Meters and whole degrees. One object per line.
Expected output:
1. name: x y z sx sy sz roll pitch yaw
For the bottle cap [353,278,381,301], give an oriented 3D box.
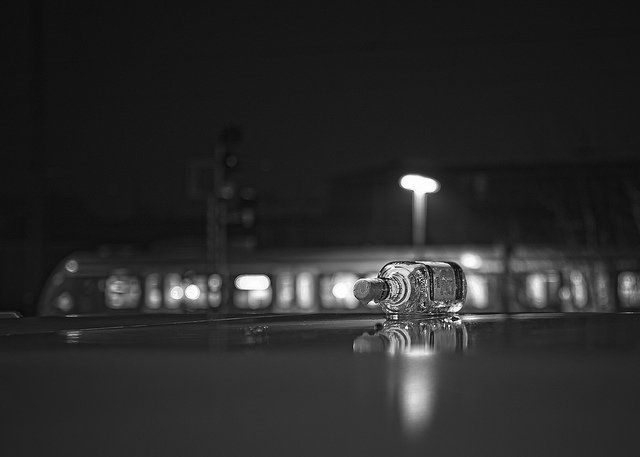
1. bottle cap: 0.063 0.080 0.977 0.020 0.035 0.044 -17 -25 38
